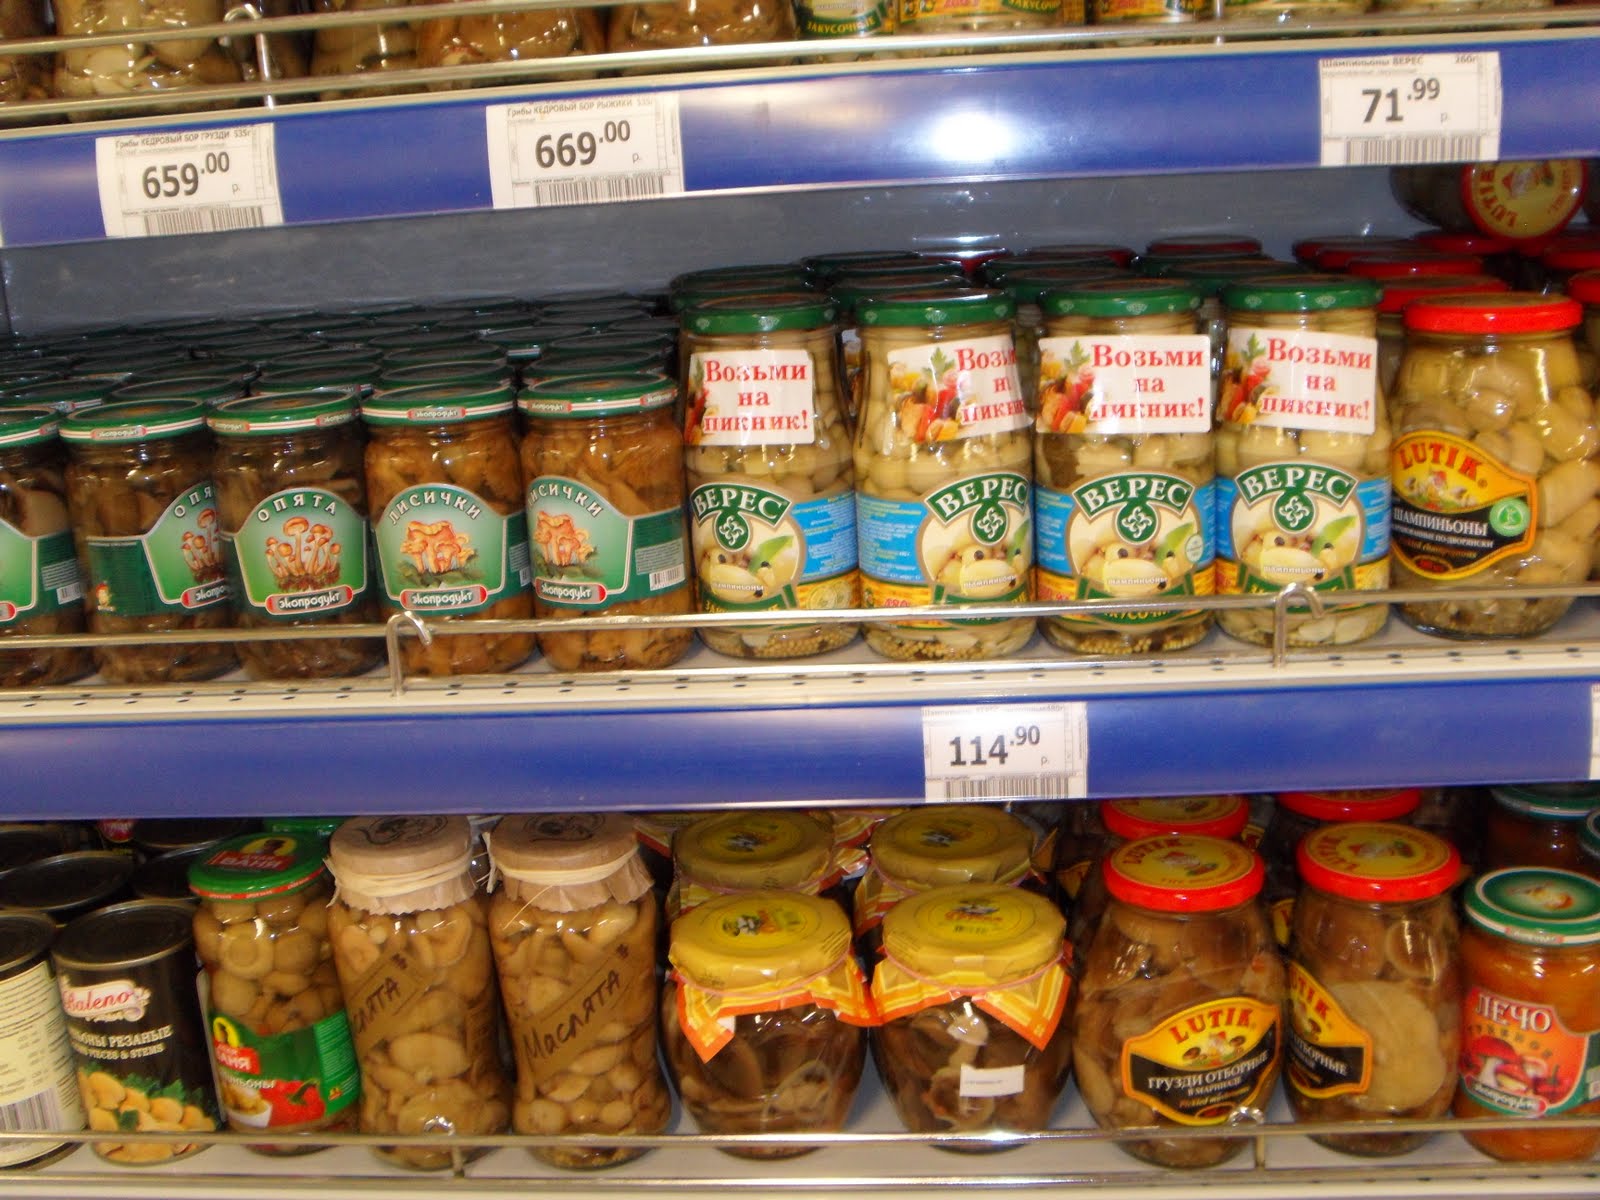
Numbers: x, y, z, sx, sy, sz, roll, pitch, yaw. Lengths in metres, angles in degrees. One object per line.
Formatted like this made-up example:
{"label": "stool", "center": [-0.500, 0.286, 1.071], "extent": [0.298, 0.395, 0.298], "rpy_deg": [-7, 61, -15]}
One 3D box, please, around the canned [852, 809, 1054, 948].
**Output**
{"label": "canned", "center": [0.177, 0.308, 1.641], "extent": [0.232, 0.144, 0.184], "rpy_deg": [5, 19, 27]}

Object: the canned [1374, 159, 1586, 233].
{"label": "canned", "center": [0.955, -0.577, 1.927], "extent": [0.239, 0.065, 0.198], "rpy_deg": [15, 26, 34]}
